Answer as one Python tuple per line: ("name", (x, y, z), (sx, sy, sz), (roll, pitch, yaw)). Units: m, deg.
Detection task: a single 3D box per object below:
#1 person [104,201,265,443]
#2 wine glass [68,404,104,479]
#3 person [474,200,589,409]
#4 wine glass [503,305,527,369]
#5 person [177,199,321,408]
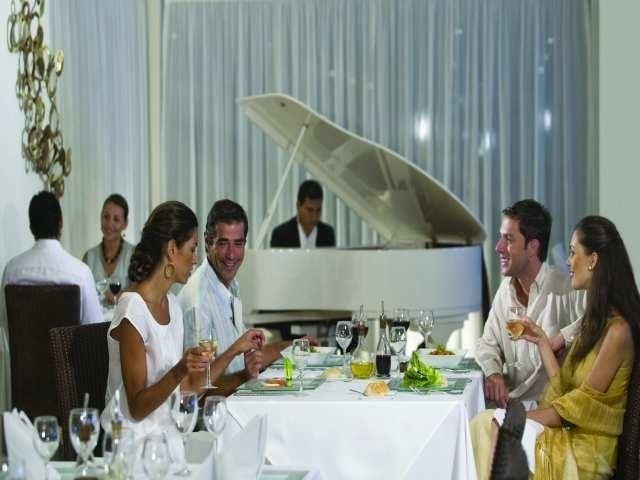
("person", (-0.595, 0.307, 3.298), (0.587, 1.464, 0.705), (-1, 1, -8))
("wine glass", (-0.791, 0.674, 2.366), (0.093, 0.235, 0.232), (0, 0, -19))
("person", (1.218, 0.379, 4.096), (0.474, 1.216, 0.581), (-2, 10, 6))
("wine glass", (0.920, 0.439, 3.394), (0.109, 0.399, 0.148), (2, -2, -3))
("person", (-0.438, 0.303, 3.644), (0.564, 1.043, 0.557), (11, 20, 19))
